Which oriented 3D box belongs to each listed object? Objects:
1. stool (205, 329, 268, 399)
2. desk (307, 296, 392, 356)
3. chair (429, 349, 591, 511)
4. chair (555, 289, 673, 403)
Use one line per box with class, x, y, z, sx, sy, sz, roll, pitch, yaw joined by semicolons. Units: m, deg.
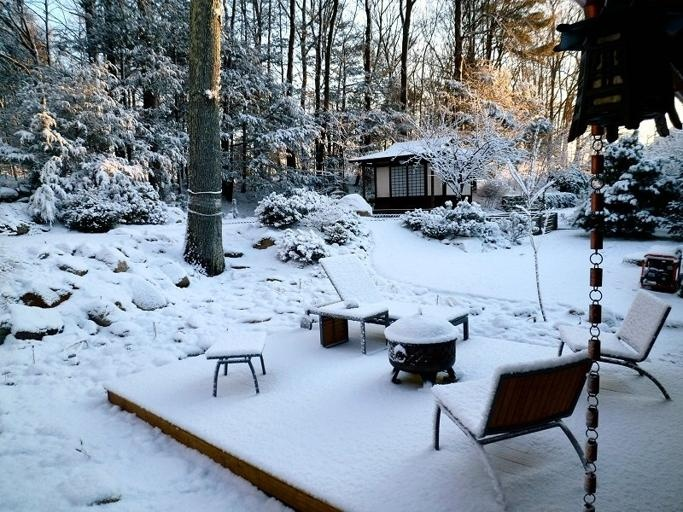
stool;-1.365;1.392;7.436;0.696;0.669;0.797;-2;8;-2
desk;0.122;1.010;8.443;0.923;0.540;0.833;0;3;35
chair;1.794;1.657;6.335;1.347;1.496;1.700;-5;6;-22
chair;3.456;1.100;7.317;1.433;1.279;1.308;-1;1;15
